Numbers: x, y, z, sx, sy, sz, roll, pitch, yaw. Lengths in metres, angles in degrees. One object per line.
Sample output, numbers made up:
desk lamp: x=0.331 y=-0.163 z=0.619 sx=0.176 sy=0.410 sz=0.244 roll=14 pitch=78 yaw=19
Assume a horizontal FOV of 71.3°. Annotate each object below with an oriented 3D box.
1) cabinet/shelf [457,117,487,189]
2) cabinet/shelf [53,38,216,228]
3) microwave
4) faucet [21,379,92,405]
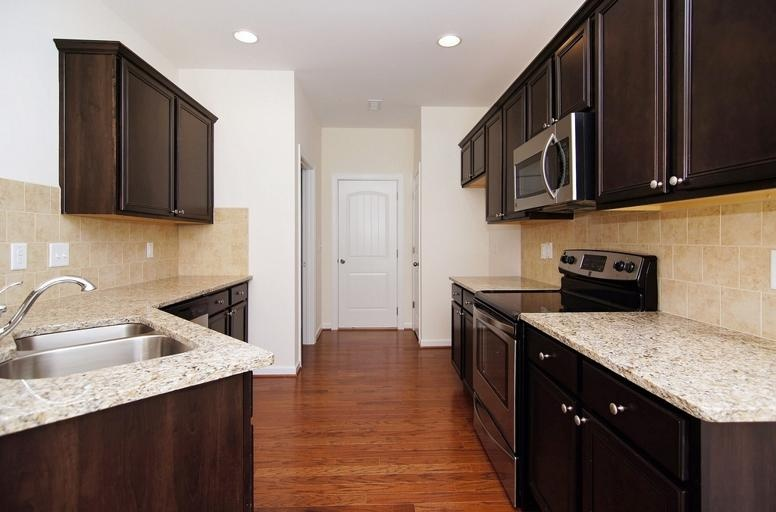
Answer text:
cabinet/shelf: x=0.842 y=-0.890 z=4.838 sx=0.216 sy=0.457 sz=0.717 roll=0 pitch=-4 yaw=-9
cabinet/shelf: x=-1.800 y=-0.787 z=4.003 sx=0.455 sy=0.993 sz=1.549 roll=0 pitch=0 yaw=1
microwave: x=1.055 y=-0.539 z=3.418 sx=0.449 sy=0.466 sz=0.942 roll=-2 pitch=0 yaw=-6
faucet: x=-1.320 y=0.528 z=2.104 sx=0.316 sy=0.046 sz=0.109 roll=2 pitch=15 yaw=9
